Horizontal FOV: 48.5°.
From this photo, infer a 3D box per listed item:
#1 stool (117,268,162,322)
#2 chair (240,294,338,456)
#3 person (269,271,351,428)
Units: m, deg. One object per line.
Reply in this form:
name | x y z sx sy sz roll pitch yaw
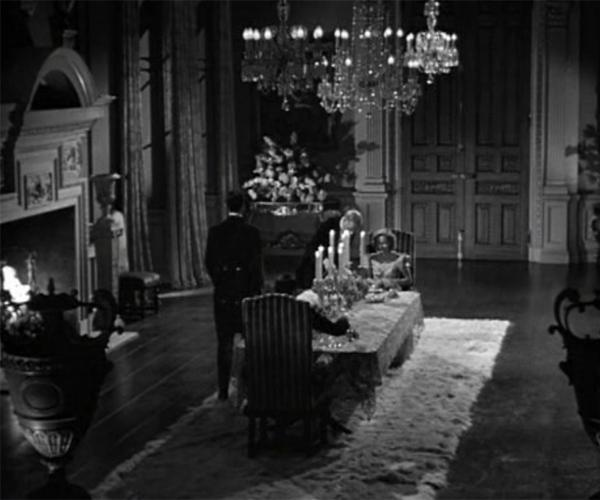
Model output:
stool | -1.898 0.497 7.719 0.357 0.550 0.672 1 3 3
chair | -0.081 0.704 3.870 0.491 0.979 0.399 0 6 2
person | 0.111 0.731 4.286 0.487 0.889 0.456 -6 -8 41
